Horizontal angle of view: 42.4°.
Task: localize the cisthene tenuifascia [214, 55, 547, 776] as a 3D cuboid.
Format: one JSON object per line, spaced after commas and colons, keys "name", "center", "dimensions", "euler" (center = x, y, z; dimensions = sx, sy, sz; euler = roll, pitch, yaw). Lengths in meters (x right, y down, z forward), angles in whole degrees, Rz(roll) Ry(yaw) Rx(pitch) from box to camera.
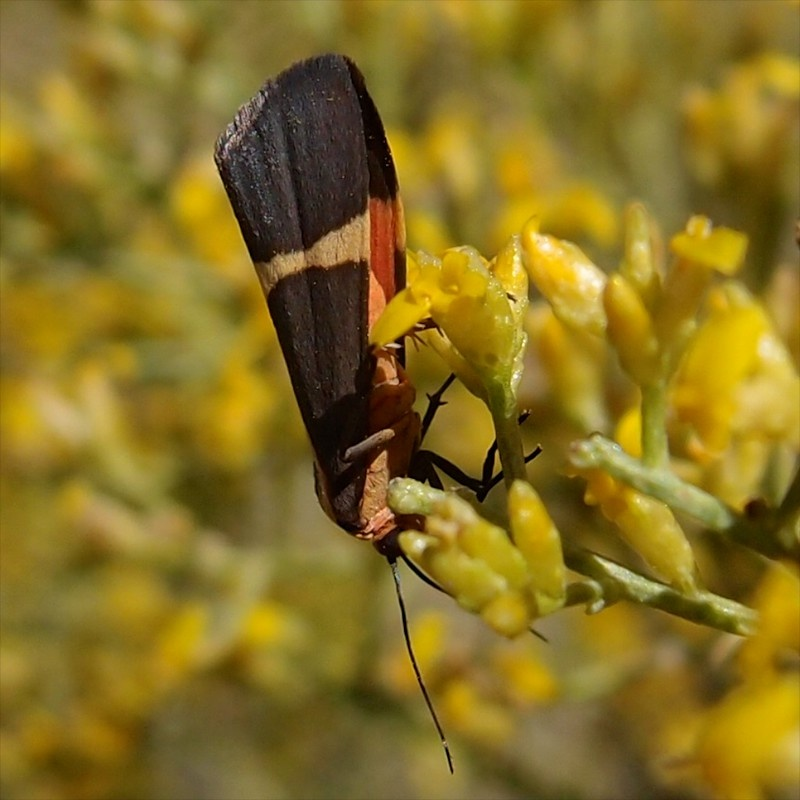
{"name": "cisthene tenuifascia", "center": [0.022, 0.016, 0.915], "dimensions": [0.110, 0.594, 0.306], "euler": [16, 35, 36]}
